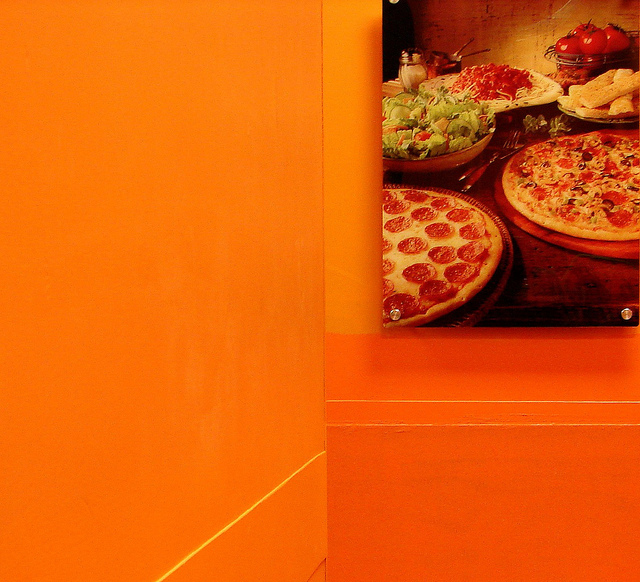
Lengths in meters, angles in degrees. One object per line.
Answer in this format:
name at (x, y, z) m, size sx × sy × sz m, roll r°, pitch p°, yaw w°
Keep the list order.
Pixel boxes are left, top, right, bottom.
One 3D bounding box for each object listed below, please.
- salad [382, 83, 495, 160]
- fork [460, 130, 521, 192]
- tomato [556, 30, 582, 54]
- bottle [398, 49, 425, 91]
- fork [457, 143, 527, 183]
salad at (0.266, -0.377, 1.535) m, size 0.247 × 0.142 × 0.096 m, roll 0°, pitch 29°, yaw 4°
fork at (0.387, -0.292, 1.534) m, size 0.024 × 0.165 × 0.024 m, roll 43°, pitch 9°, yaw 7°
tomato at (0.542, -0.535, 1.495) m, size 0.044 × 0.046 × 0.045 m, roll -6°, pitch 13°, yaw 9°
bottle at (0.197, -0.498, 1.565) m, size 0.076 × 0.109 × 0.076 m, roll -4°, pitch 11°, yaw 1°
fork at (0.391, -0.287, 1.534) m, size 0.018 × 0.131 × 0.016 m, roll 60°, pitch 15°, yaw 20°
